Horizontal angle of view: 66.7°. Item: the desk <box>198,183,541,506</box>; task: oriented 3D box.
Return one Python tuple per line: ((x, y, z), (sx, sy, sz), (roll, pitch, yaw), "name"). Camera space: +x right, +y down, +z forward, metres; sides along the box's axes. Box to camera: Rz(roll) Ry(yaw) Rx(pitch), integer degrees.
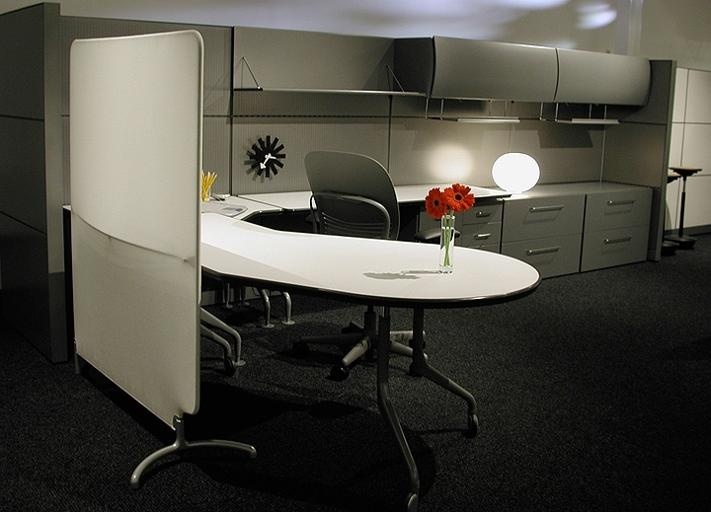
((-0.011, 0.466, 2.868), (1.780, 1.064, 1.012), (8, 16, 20), "desk")
